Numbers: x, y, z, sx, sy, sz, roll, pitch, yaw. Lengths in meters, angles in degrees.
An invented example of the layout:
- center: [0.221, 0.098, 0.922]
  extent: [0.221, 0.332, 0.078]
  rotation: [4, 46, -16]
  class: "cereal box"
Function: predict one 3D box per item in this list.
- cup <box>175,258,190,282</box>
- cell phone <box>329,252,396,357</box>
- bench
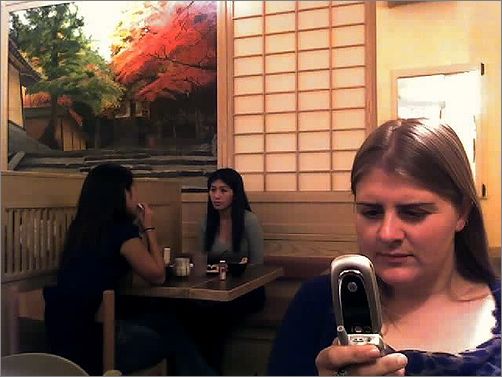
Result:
- center: [-0.345, 0.402, 2.635]
  extent: [0.082, 0.086, 0.084]
  rotation: [-1, -2, 0]
  class: "cup"
- center: [0.330, 0.361, 1.655]
  extent: [0.151, 0.210, 0.093]
  rotation: [-1, 1, 13]
  class: "cell phone"
- center: [0.146, 0.496, 2.760]
  extent: [0.705, 0.473, 0.388]
  rotation: [-5, -8, 23]
  class: "bench"
